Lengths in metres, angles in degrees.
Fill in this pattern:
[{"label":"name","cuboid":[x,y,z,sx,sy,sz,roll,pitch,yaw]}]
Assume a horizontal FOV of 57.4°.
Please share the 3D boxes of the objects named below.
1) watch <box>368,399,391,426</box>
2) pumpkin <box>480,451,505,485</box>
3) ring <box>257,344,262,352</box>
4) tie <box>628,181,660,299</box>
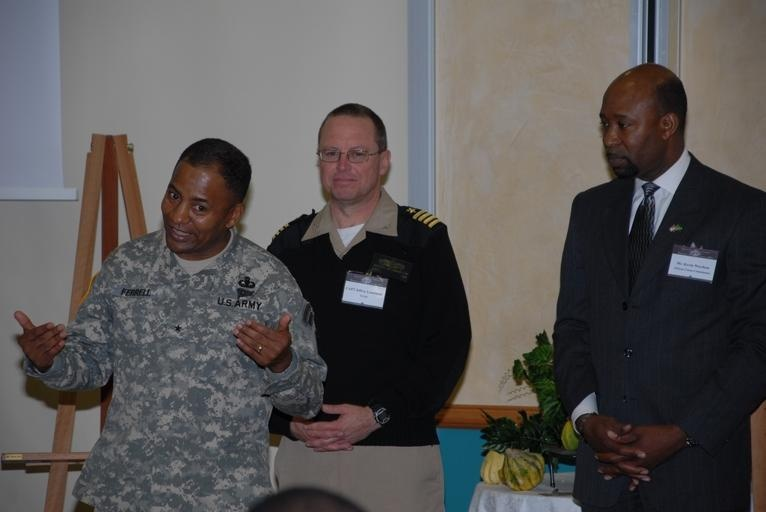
[{"label":"watch","cuboid":[-0.012,0.711,3.226,0.077,0.113,0.105,-29,-4,-38]},{"label":"pumpkin","cuboid":[0.563,1.109,3.660,0.133,0.146,0.098,-9,-16,38]},{"label":"ring","cuboid":[-0.455,0.335,2.566,0.032,0.029,0.009,0,-1,2]},{"label":"tie","cuboid":[1.125,-0.073,3.053,0.135,0.488,0.044,1,-23,21]}]
